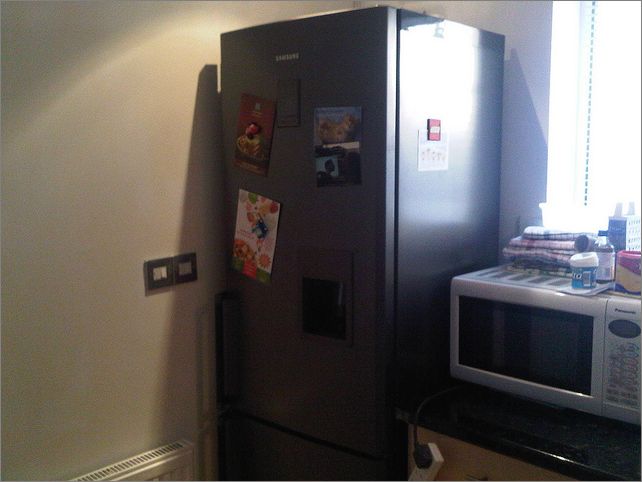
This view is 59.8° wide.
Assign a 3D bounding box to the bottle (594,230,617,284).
[{"bbox_3d":[0.959,0.069,1.890,0.074,0.188,0.077,-6,12,1],"label":"bottle"}]

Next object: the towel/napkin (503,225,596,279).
[{"bbox_3d":[0.805,0.023,2.004,0.190,0.092,0.206,4,8,38],"label":"towel/napkin"}]
